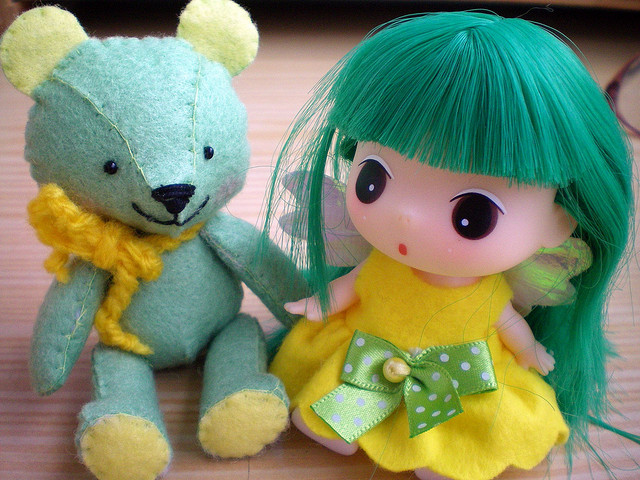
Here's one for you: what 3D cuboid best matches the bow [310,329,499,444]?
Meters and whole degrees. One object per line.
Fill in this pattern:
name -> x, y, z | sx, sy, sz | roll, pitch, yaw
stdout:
bow -> 0.113, 0.173, 1.067 | 0.221, 0.159, 0.079 | -11, 5, 21
